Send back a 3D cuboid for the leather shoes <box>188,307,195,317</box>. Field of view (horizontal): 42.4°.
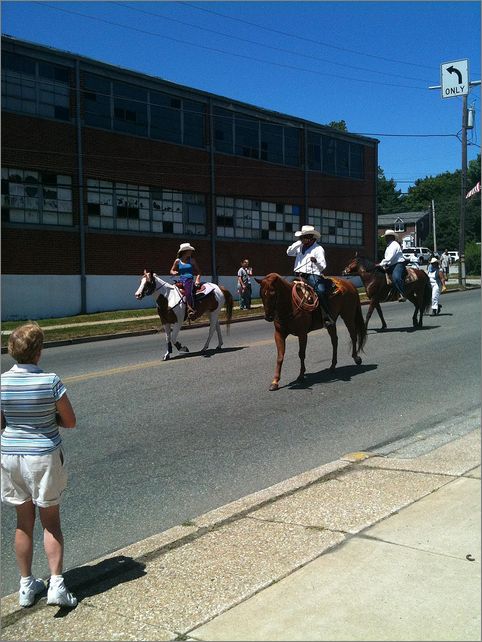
[{"bbox_3d":[-1.085,-0.198,13.365,0.124,0.164,0.068,1,5,-27],"label":"leather shoes"}]

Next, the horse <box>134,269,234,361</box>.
[{"bbox_3d":[-1.178,-0.183,13.632,0.744,1.903,2.816,-1,3,42],"label":"horse"}]

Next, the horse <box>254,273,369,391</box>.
[{"bbox_3d":[1.233,0.033,10.326,0.647,1.739,2.867,1,6,44],"label":"horse"}]

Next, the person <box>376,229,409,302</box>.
[{"bbox_3d":[4.056,-1.520,16.616,0.651,1.941,1.144,-3,3,14],"label":"person"}]

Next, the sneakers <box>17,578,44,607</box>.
[{"bbox_3d":[-1.148,1.475,3.422,0.069,0.085,0.206,0,10,13],"label":"sneakers"}]

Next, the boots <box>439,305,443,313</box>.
[{"bbox_3d":[6.477,-0.427,20.266,0.114,0.272,0.068,8,-8,-29],"label":"boots"}]

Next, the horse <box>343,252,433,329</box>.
[{"bbox_3d":[3.959,-0.808,16.816,3.113,2.108,0.825,-4,11,-24],"label":"horse"}]

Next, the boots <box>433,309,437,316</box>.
[{"bbox_3d":[5.958,-0.297,19.266,0.134,0.222,0.536,-3,3,16],"label":"boots"}]

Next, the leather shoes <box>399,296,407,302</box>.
[{"bbox_3d":[4.435,-0.637,17.123,0.155,0.197,0.513,-9,-6,17],"label":"leather shoes"}]

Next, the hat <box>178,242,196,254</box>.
[{"bbox_3d":[-1.181,-1.570,13.209,0.274,0.195,0.395,-5,3,-14],"label":"hat"}]

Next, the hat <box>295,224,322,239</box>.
[{"bbox_3d":[1.155,-1.540,10.667,0.359,0.235,0.867,-3,3,10],"label":"hat"}]

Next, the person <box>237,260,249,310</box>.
[{"bbox_3d":[0.105,-1.472,24.805,0.475,1.946,1.107,-4,3,-1],"label":"person"}]
